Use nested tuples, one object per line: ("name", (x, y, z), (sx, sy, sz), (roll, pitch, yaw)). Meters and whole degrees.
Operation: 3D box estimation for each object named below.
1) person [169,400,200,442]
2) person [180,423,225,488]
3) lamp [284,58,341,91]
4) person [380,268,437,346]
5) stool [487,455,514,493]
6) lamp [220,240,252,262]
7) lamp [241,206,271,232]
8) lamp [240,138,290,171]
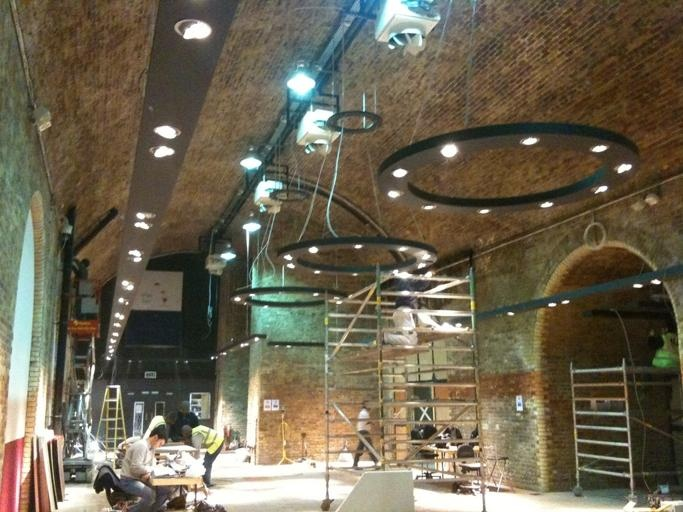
("person", (-3.855, 4.259, 15.089), (0.641, 1.351, 0.420), (0, 6, -21))
("person", (-3.175, 4.544, 14.178), (0.995, 1.395, 0.582), (-2, 9, -16))
("lamp", (-0.608, -3.839, 12.974), (0.778, 0.726, 0.783), (25, -48, 28))
("person", (1.184, 1.197, 12.526), (0.715, 1.299, 0.576), (15, 12, 2))
("stool", (4.111, 5.601, 15.805), (0.678, 0.971, 0.700), (-15, -44, 32))
("lamp", (-4.037, -0.218, 23.676), (0.625, 0.638, 0.638), (14, -33, -26))
("lamp", (-2.681, -1.177, 19.590), (0.696, 0.709, 0.729), (7, -43, -5))
("lamp", (-2.132, -2.643, 16.223), (0.918, 0.382, 1.171), (9, 20, 19))
